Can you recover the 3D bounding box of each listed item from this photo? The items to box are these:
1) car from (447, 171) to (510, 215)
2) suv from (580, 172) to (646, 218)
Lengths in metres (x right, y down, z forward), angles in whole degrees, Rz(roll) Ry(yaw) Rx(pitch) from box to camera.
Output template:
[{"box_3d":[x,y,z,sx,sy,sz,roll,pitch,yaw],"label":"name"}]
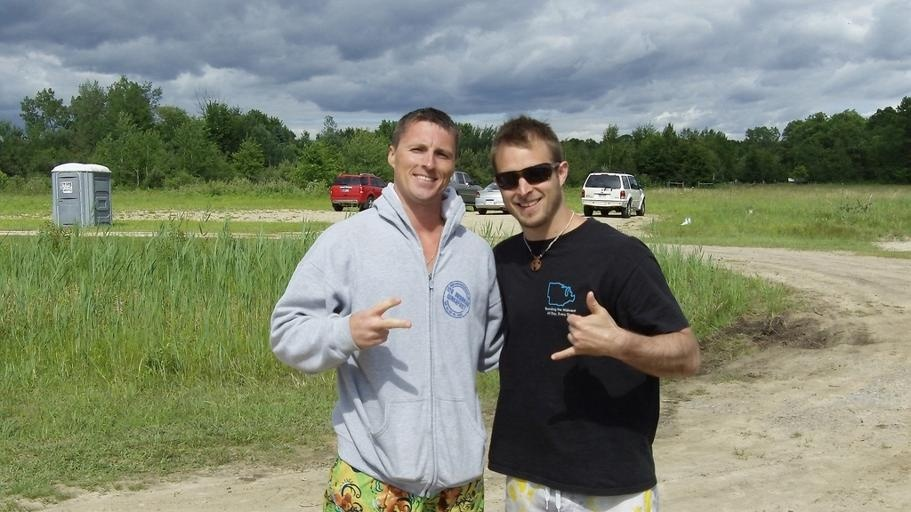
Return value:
[{"box_3d":[1.128,-2.688,34.725,1.709,1.398,3.919,3,9,30],"label":"car"},{"box_3d":[6.706,-2.630,33.611,1.664,1.409,3.248,3,9,25],"label":"suv"}]
